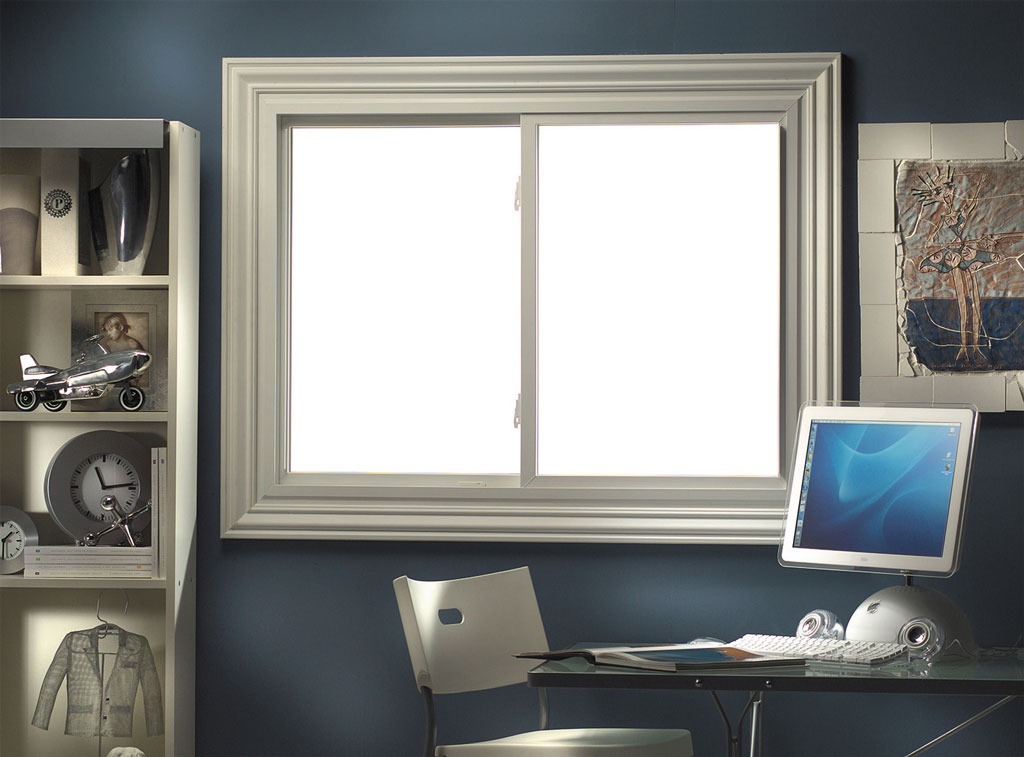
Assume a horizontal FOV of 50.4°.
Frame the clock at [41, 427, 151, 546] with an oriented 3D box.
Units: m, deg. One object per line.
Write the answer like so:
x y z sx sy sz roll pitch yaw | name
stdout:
-1.457 0.392 3.868 0.398 0.427 0.138 5 -16 -30 | clock

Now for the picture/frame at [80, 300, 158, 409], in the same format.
-1.453 -0.061 3.966 0.284 0.541 0.037 1 34 -29 | picture/frame

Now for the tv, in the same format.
1.175 0.354 3.472 0.577 0.592 0.048 1 -12 31 | tv
